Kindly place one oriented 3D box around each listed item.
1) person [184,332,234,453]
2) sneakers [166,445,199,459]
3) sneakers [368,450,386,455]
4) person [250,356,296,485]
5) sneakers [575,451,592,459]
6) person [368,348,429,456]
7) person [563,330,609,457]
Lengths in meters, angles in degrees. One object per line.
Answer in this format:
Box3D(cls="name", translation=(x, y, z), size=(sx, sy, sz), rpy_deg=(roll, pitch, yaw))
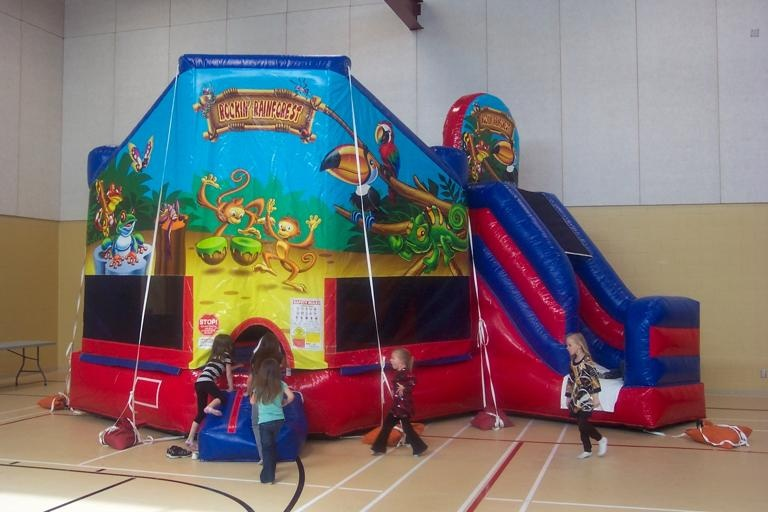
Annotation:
Box3D(cls="person", translation=(-1.835, 1.432, 6.844), size=(0.489, 1.210, 0.457), rpy_deg=(-1, -1, -15))
Box3D(cls="sneakers", translation=(-2.082, 2.013, 6.708), size=(0.380, 0.162, 0.135), rpy_deg=(0, 1, -14))
Box3D(cls="sneakers", translation=(-0.070, 2.020, 6.724), size=(0.161, 0.069, 0.052), rpy_deg=(8, -6, 5))
Box3D(cls="person", translation=(-1.093, 1.570, 6.349), size=(0.389, 1.139, 0.495), rpy_deg=(-1, -1, -12))
Box3D(cls="sneakers", translation=(2.061, 2.047, 6.672), size=(0.117, 0.049, 0.066), rpy_deg=(-4, 2, -3))
Box3D(cls="person", translation=(0.157, 1.523, 6.912), size=(0.595, 1.102, 0.574), rpy_deg=(-1, -1, -1))
Box3D(cls="person", translation=(2.103, 1.439, 6.773), size=(0.365, 1.268, 0.259), rpy_deg=(-1, -1, 17))
